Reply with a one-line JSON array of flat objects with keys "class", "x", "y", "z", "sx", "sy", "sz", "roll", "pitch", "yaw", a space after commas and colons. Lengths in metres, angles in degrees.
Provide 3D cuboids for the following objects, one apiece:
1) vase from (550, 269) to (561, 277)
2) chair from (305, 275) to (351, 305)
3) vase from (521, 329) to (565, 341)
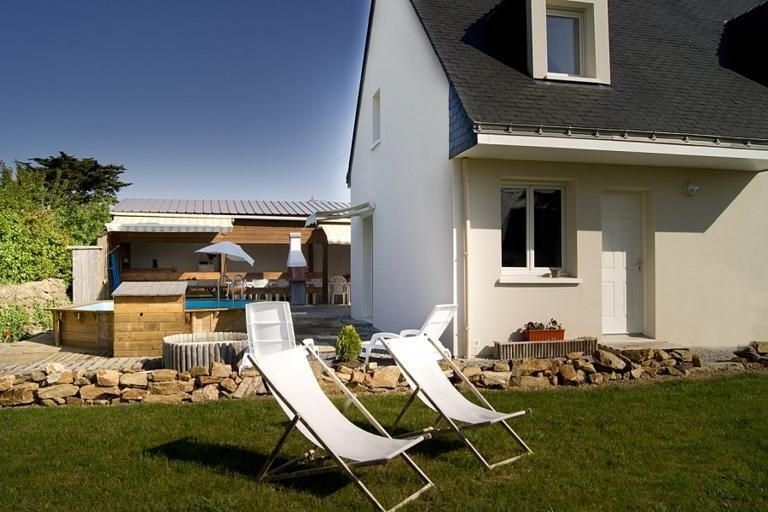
[{"class": "vase", "x": 4.536, "y": 0.444, "z": 16.427, "sx": 0.216, "sy": 0.187, "sz": 0.225, "roll": 1, "pitch": -5, "yaw": 0}, {"class": "chair", "x": -2.701, "y": 1.679, "z": 30.571, "sx": 2.068, "sy": 1.378, "sz": 1.026, "roll": -1, "pitch": -3, "yaw": 0}, {"class": "vase", "x": 4.111, "y": 2.023, "z": 16.004, "sx": 0.653, "sy": 0.223, "sz": 0.443, "roll": 2, "pitch": -7, "yaw": -6}]
